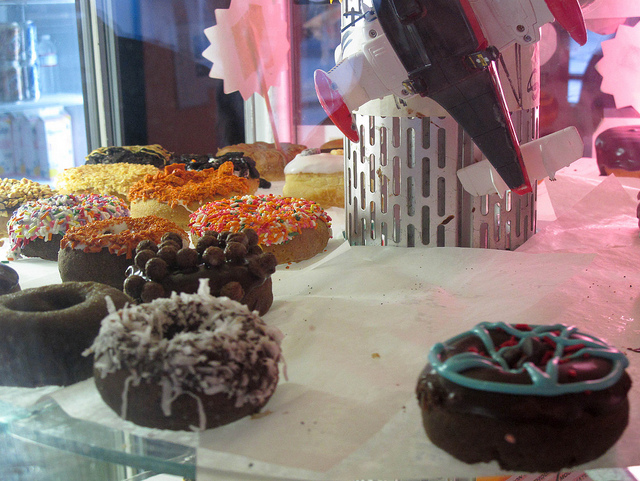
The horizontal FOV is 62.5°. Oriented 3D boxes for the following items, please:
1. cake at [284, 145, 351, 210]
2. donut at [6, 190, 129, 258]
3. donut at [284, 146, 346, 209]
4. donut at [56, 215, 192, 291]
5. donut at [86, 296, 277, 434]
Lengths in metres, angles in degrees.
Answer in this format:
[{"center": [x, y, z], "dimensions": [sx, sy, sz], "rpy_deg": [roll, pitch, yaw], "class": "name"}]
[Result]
[{"center": [0.010, -0.406, 3.226], "dimensions": [0.410, 0.250, 0.415], "rpy_deg": [15, 20, 35], "class": "cake"}, {"center": [-1.157, -0.093, 2.410], "dimensions": [0.381, 0.172, 0.431], "rpy_deg": [0, 13, 1], "class": "donut"}, {"center": [-0.008, -0.409, 3.277], "dimensions": [0.365, 0.224, 0.361], "rpy_deg": [3, 13, 3], "class": "donut"}, {"center": [-0.802, -0.013, 2.032], "dimensions": [0.346, 0.152, 0.381], "rpy_deg": [-1, 6, -2], "class": "donut"}, {"center": [-0.336, 0.293, 1.213], "dimensions": [0.349, 0.147, 0.381], "rpy_deg": [2, 13, -2], "class": "donut"}]
